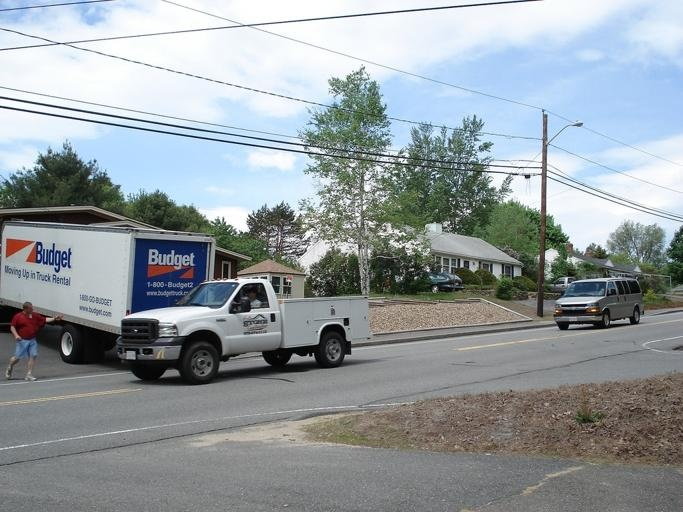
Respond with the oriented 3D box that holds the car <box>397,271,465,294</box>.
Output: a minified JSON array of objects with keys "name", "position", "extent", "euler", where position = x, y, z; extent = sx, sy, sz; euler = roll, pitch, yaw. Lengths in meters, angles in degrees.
[{"name":"car","position":[6.781,1.669,46.735],"extent":[4.553,1.373,1.960],"euler":[2,-5,-14]}]

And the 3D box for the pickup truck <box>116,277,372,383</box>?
[{"name":"pickup truck","position":[-2.429,1.874,16.171],"extent":[6.227,2.070,2.559],"euler":[4,-9,-41]}]

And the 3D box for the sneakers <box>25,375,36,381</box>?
[{"name":"sneakers","position":[-7.617,2.990,15.162],"extent":[0.340,0.132,0.128],"euler":[-9,-10,35]}]
